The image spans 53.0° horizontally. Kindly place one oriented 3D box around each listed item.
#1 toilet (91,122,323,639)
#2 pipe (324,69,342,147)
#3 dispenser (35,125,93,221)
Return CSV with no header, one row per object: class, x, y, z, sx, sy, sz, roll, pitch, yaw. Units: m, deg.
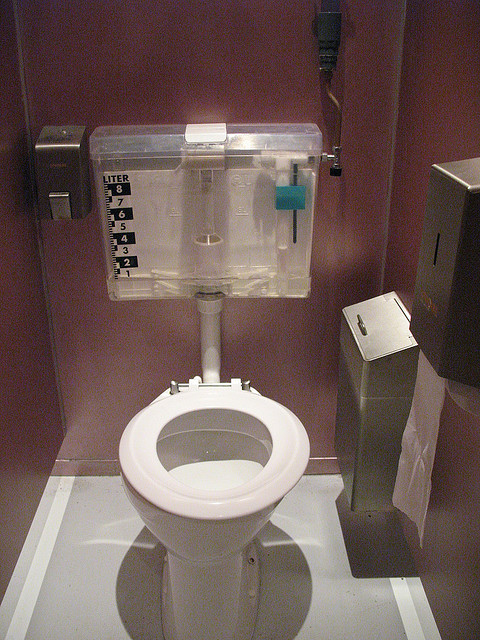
toilet,-0.075,0.126,1.102,0.355,1.055,0.867,1,48,0
pipe,0.225,-0.523,1.163,0.034,0.166,0.029,11,43,17
dispenser,-0.415,-0.338,1.111,0.115,0.206,0.068,-1,12,-6
